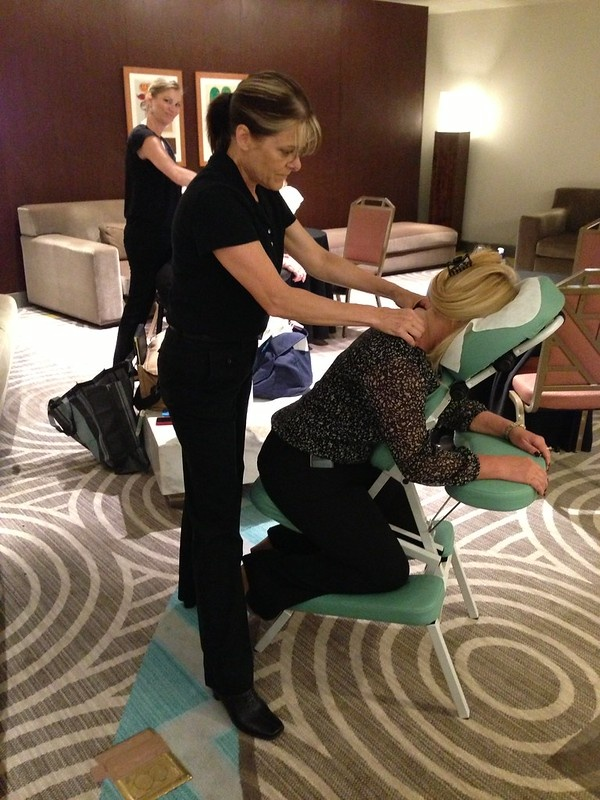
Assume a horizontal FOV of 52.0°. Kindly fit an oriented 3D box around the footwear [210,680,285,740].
[{"bbox_3d":[-0.119,0.669,1.394,0.183,0.073,0.073,24,33,37],"label":"footwear"}]

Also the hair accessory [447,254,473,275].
[{"bbox_3d":[0.304,-0.258,1.174,0.055,0.036,0.019,-15,-22,40],"label":"hair accessory"}]

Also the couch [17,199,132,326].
[{"bbox_3d":[-1.805,-1.077,4.889,1.111,0.702,0.759,-20,34,-37],"label":"couch"}]

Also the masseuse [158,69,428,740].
[{"bbox_3d":[-0.009,0.027,1.423,0.599,1.364,0.573,-11,24,-31],"label":"masseuse"}]

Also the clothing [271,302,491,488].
[{"bbox_3d":[0.153,0.016,1.316,0.417,0.261,0.294,20,19,-9],"label":"clothing"}]

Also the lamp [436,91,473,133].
[{"bbox_3d":[2.039,-3.792,8.066,0.451,0.483,0.192,19,26,37],"label":"lamp"}]

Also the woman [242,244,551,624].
[{"bbox_3d":[0.255,0.121,1.406,0.669,0.865,0.389,14,15,14],"label":"woman"}]

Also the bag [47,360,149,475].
[{"bbox_3d":[-0.884,0.100,2.718,0.377,0.448,0.434,-39,23,-27],"label":"bag"}]
